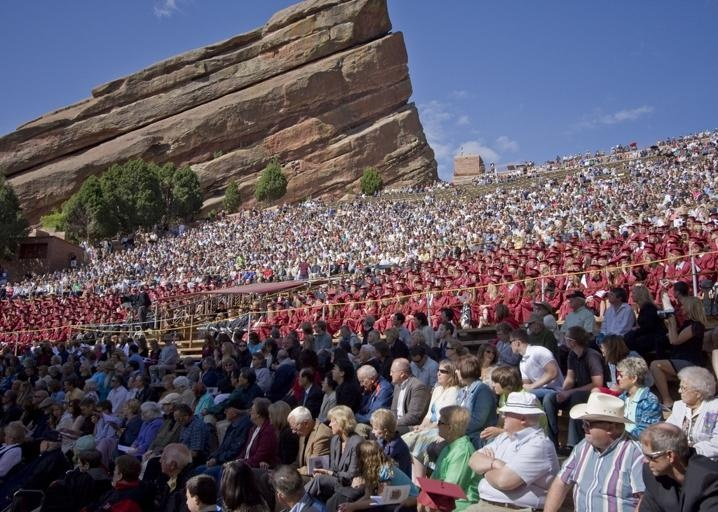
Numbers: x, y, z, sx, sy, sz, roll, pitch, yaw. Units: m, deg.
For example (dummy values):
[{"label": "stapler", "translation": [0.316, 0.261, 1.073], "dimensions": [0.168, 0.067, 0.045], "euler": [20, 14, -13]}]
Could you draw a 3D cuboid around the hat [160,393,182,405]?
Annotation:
[{"label": "hat", "translation": [-3.910, 2.954, 16.128], "dimensions": [0.313, 0.165, 0.237], "euler": [-13, -16, 10]}]

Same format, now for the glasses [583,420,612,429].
[{"label": "glasses", "translation": [3.469, 2.425, 11.300], "dimensions": [0.353, 0.136, 0.063], "euler": [-12, 1, 15]}]

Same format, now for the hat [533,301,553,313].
[{"label": "hat", "translation": [3.938, 1.113, 16.594], "dimensions": [0.357, 0.257, 0.435], "euler": [-11, 2, 12]}]

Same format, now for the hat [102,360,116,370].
[{"label": "hat", "translation": [-6.417, 2.774, 19.949], "dimensions": [0.204, 0.187, 0.232], "euler": [-2, -5, 39]}]

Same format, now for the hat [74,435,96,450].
[{"label": "hat", "translation": [-5.210, 3.523, 14.642], "dimensions": [0.388, 0.269, 0.289], "euler": [-5, -6, 20]}]

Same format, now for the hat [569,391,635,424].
[{"label": "hat", "translation": [3.528, 2.217, 11.336], "dimensions": [0.598, 0.276, 0.543], "euler": [0, -2, -17]}]

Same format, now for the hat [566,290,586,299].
[{"label": "hat", "translation": [4.869, 0.854, 17.426], "dimensions": [0.305, 0.178, 0.211], "euler": [18, -9, 3]}]

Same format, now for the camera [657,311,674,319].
[{"label": "camera", "translation": [6.137, 1.156, 15.630], "dimensions": [0.231, 0.091, 0.229], "euler": [2, 1, -44]}]

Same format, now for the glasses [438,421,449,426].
[{"label": "glasses", "translation": [1.335, 2.622, 12.315], "dimensions": [0.163, 0.068, 0.039], "euler": [-11, 1, 42]}]

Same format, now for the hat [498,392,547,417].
[{"label": "hat", "translation": [2.507, 2.234, 11.730], "dimensions": [0.408, 0.185, 0.421], "euler": [16, -19, -31]}]
